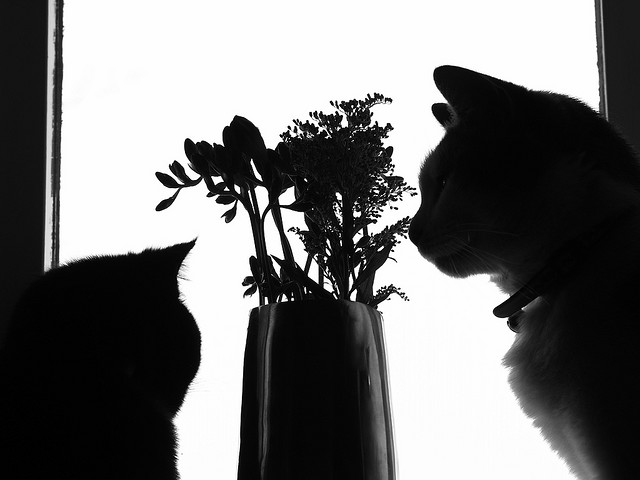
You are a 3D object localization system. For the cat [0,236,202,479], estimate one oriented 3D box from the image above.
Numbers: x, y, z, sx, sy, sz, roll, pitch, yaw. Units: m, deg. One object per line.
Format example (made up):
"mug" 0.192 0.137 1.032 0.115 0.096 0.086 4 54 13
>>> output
"cat" -0.356 0.205 1.428 0.317 0.263 0.279 -4 -59 -2

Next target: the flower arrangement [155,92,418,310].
"flower arrangement" -0.032 -0.021 1.553 0.341 0.391 0.378 -6 -20 16

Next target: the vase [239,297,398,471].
"vase" -0.003 0.238 1.457 0.244 0.276 0.252 -1 -18 -1

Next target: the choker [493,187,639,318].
"choker" 0.383 0.013 1.341 0.025 0.034 0.237 35 -70 -11

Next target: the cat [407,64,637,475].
"cat" 0.319 0.066 1.358 0.344 0.448 0.521 -1 -59 -4
